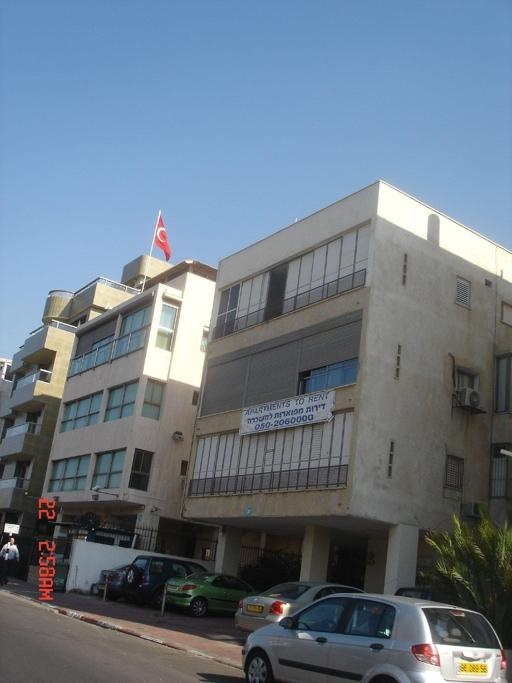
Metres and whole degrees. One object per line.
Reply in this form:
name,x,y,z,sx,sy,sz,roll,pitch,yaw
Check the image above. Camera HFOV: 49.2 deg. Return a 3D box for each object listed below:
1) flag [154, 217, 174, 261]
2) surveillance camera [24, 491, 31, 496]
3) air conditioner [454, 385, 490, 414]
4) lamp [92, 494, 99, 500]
flag,-5.492,-6.536,32.704,1.030,0.375,4.337,-2,-40,-10
surveillance camera,-14.658,9.796,35.754,0.311,0.307,0.189,2,-9,-37
air conditioner,7.615,2.183,19.772,1.446,0.976,0.811,18,-27,-41
lamp,-7.922,7.654,27.516,0.233,0.320,0.394,9,-13,-33
